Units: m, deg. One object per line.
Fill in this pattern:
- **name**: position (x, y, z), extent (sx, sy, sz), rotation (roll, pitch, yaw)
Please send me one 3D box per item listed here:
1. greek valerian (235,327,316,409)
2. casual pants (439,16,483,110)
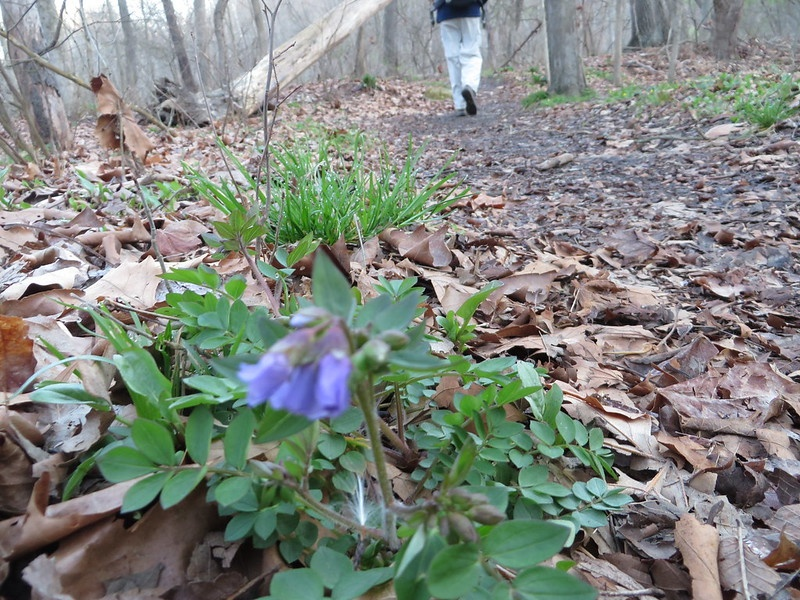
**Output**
- **greek valerian**: position (-0.226, 0.137, 1.083), extent (0.148, 0.143, 0.088), rotation (-10, 19, -8)
- **casual pants**: position (1.020, -4.068, 9.776), extent (0.671, 1.624, 0.534), rotation (-6, -7, 12)
